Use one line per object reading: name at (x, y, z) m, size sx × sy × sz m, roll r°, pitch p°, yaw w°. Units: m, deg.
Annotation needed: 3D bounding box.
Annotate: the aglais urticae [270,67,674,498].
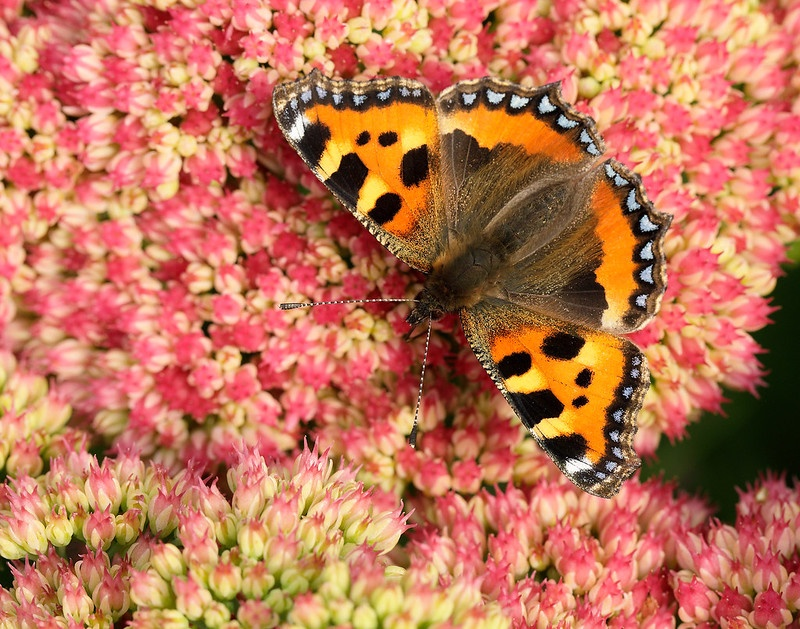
aglais urticae at (0.322, -0.230, 2.576) m, size 0.771 × 0.377 × 1.441 m, roll -41°, pitch 85°, yaw -2°
